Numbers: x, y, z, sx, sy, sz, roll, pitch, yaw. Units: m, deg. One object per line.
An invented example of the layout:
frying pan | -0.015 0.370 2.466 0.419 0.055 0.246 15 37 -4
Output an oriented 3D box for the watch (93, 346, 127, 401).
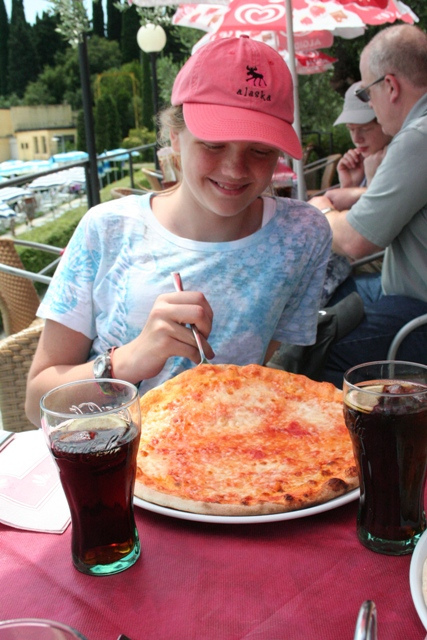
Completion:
watch | -0.198 0.097 0.968 0.037 0.053 0.056 -29 35 -4

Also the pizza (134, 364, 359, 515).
pizza | 0.034 0.164 0.817 0.359 0.064 0.419 -3 17 9

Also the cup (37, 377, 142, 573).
cup | -0.131 0.184 0.614 0.113 0.191 0.157 -13 19 -19
